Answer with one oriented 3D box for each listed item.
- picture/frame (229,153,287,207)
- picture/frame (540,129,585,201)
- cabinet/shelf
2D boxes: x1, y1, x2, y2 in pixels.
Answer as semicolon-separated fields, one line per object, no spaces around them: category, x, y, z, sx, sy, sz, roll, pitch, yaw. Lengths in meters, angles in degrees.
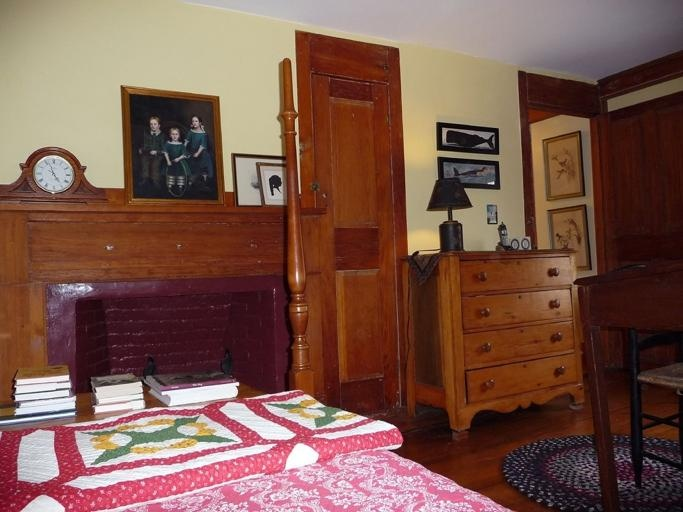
picture/frame;-0.587;-0.497;3.564;0.036;0.371;0.420;-12;-6;35
picture/frame;2.539;-1.034;5.965;0.178;0.750;0.652;-4;6;-18
cabinet/shelf;1.079;0.612;3.694;1.337;1.159;0.732;1;-7;-24
